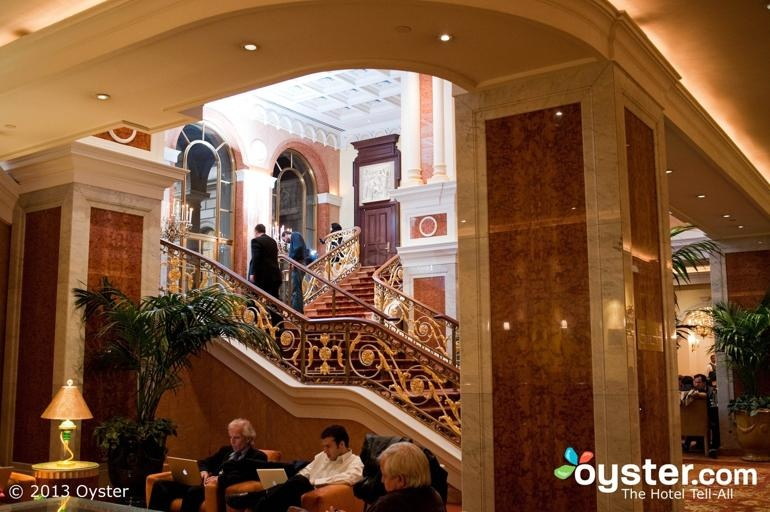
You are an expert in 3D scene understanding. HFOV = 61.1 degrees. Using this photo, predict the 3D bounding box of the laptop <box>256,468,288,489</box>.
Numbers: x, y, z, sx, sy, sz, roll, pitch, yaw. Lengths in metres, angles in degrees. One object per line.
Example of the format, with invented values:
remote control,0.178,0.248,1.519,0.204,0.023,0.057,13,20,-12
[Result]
laptop,-1.184,2.310,6.818,0.310,0.216,0.223,1,8,13

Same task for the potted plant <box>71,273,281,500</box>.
potted plant,-3.211,1.717,8.949,2.581,2.805,2.620,9,-19,-25

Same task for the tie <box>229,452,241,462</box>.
tie,-1.698,2.270,7.399,0.113,0.100,0.085,-10,-14,27

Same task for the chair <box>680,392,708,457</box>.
chair,5.858,3.111,12.207,0.532,1.029,0.466,0,-15,-4

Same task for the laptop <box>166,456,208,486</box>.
laptop,-2.201,2.392,7.259,0.445,0.286,0.320,2,5,35

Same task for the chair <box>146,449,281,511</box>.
chair,-2.044,2.450,7.574,0.917,0.707,0.961,-8,-22,24
